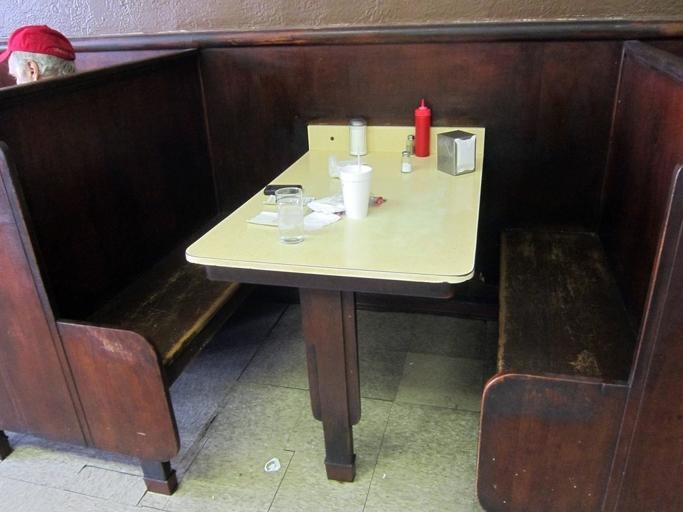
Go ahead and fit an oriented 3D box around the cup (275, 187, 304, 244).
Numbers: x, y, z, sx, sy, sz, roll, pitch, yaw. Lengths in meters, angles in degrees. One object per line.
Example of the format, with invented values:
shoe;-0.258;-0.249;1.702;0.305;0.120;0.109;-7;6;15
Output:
cup;-0.180;-0.151;1.899;0.094;0.142;0.199;-7;29;-7
